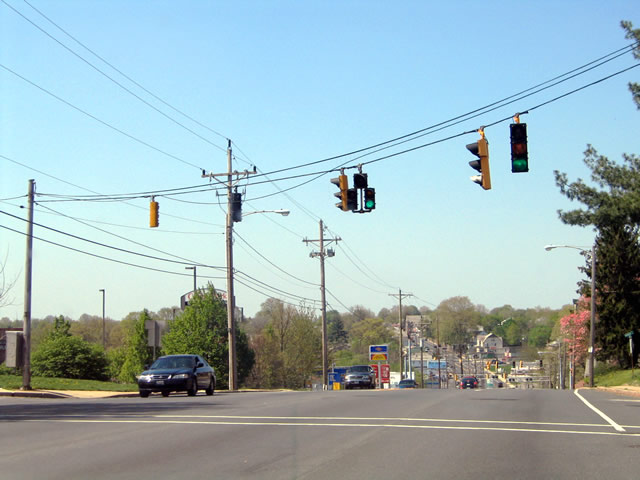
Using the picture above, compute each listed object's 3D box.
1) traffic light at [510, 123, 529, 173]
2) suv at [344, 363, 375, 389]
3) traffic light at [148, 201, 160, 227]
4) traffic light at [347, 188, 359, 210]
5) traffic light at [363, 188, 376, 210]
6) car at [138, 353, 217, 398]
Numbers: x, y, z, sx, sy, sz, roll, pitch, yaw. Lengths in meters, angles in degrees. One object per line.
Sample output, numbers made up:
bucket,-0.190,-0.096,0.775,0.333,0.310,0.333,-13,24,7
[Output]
traffic light,6.880,-3.168,32.342,0.534,0.210,1.865,-2,-54,12
suv,2.453,8.422,58.051,1.557,1.595,1.938,-4,-15,16
traffic light,-6.907,-1.099,39.148,0.287,1.107,0.240,4,-13,-17
traffic light,1.248,-1.480,35.883,0.337,0.917,0.427,1,-13,-5
traffic light,1.883,-1.551,35.106,0.364,1.117,1.047,1,-14,-1
car,-5.525,5.320,36.957,1.742,1.960,3.308,-6,-16,26
